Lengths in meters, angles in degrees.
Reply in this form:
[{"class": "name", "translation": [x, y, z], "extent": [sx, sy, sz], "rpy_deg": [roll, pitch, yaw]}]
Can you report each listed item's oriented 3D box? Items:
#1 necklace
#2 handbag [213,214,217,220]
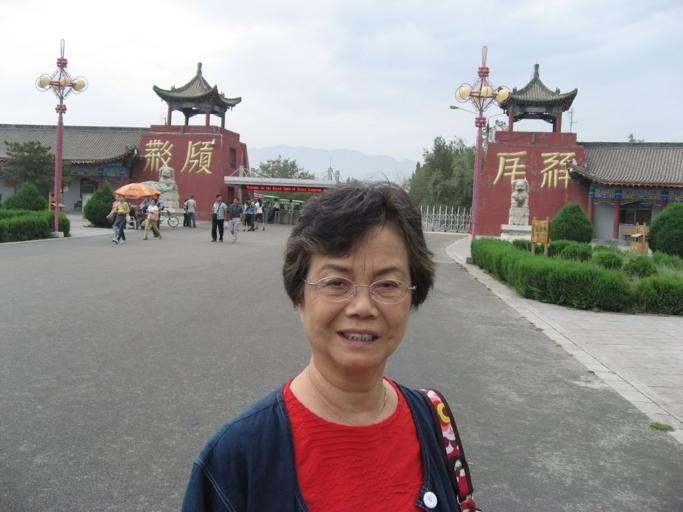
[{"class": "necklace", "translation": [0.008, 0.455, 1.875], "extent": [0.278, 0.177, 0.178], "rpy_deg": [8, -6, -9]}, {"class": "handbag", "translation": [-4.380, -1.393, 19.972], "extent": [0.194, 0.275, 0.092], "rpy_deg": [0, -2, 4]}]
